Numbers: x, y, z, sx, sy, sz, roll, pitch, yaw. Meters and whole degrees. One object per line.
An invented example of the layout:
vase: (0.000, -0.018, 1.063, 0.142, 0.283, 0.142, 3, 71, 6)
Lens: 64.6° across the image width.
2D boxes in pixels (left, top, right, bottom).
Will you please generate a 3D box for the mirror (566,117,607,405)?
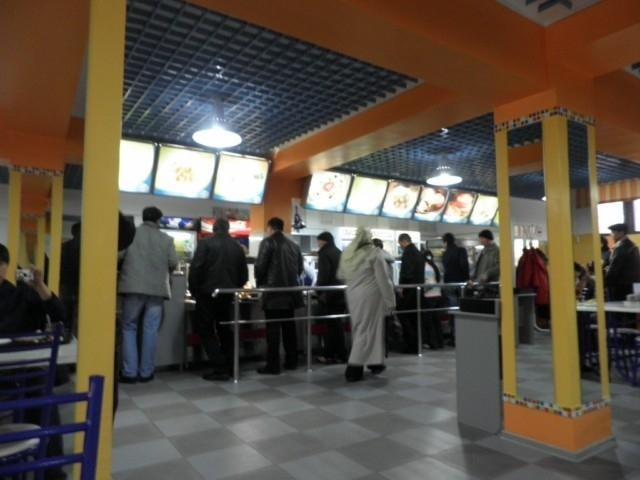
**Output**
mirror: (2.548, 0.179, 4.646, 0.236, 2.532, 0.588, 1, 2, 29)

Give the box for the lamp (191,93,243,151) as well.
lamp: (-1.307, -1.516, 6.580, 0.636, 0.671, 0.686, -4, -10, 16)

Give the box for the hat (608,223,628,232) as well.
hat: (4.036, -0.161, 6.869, 0.133, 0.069, 0.186, 4, 1, 8)
